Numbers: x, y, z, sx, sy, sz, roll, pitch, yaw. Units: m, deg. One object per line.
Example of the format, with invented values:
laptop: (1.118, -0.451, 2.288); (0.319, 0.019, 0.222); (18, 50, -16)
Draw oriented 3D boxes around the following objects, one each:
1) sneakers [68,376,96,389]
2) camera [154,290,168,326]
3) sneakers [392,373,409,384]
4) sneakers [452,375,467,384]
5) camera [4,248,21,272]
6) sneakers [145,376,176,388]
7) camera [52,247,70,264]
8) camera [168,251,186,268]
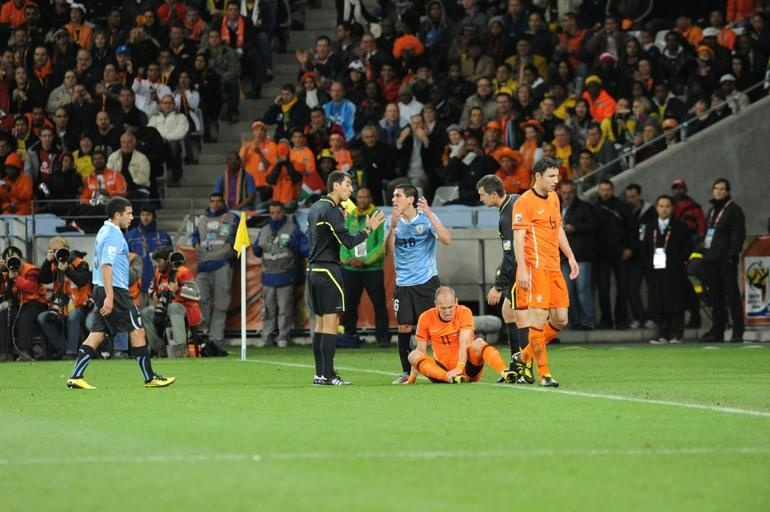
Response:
sneakers: (-5.388, 2.230, 22.984); (0.527, 0.263, 0.210); (4, 6, -4)
camera: (-4.782, 1.096, 28.089); (0.299, 0.594, 0.216); (-2, -14, 23)
sneakers: (0.293, 2.172, 23.140); (0.336, 0.170, 0.129); (1, -4, 12)
sneakers: (1.308, 2.140, 22.823); (0.293, 0.131, 0.100); (2, -7, -26)
camera: (-8.200, 0.109, 28.724); (0.206, 0.396, 0.362); (-10, -24, -13)
sneakers: (-3.952, 2.199, 22.969); (0.399, 0.201, 0.247); (-5, 2, -1)
camera: (-6.941, -0.006, 27.940); (0.270, 0.304, 0.302); (8, -1, -31)
camera: (-4.499, 0.077, 28.099); (0.314, 0.379, 0.203); (1, -7, -19)
